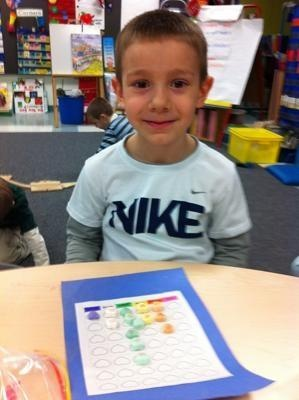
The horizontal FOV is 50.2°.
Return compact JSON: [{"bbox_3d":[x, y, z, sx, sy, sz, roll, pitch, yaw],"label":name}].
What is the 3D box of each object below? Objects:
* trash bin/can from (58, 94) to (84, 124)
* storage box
[{"bbox_3d":[-1.038,-1.260,4.454,0.429,0.396,0.433,-1,13,-2],"label":"trash bin/can"},{"bbox_3d":[0.769,-0.421,2.327,0.281,0.185,0.401,0,17,-4],"label":"storage box"}]
